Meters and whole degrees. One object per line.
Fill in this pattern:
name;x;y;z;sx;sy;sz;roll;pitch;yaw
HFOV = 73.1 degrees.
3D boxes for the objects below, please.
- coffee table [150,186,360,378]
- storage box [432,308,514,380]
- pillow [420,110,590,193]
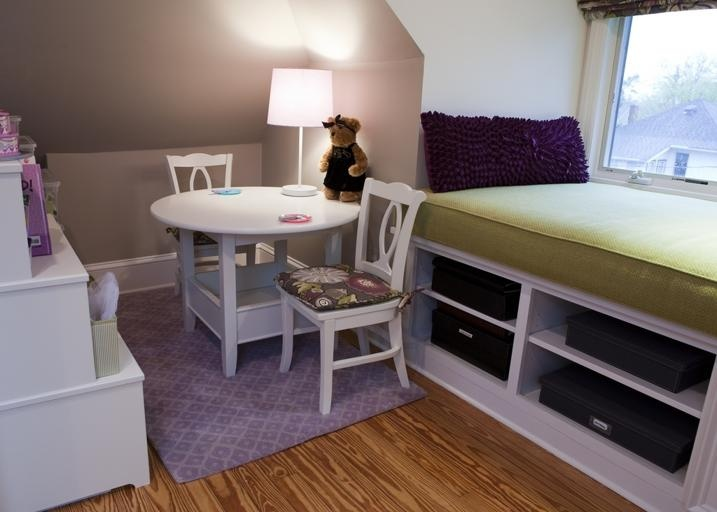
coffee table;-0.541;0.105;2.634;1.058;0.725;0.989;-11;21;-41
storage box;0.534;0.437;2.413;0.354;0.143;0.253;31;-10;-4
pillow;0.794;-0.556;2.578;1.001;0.410;0.157;-5;0;-21
